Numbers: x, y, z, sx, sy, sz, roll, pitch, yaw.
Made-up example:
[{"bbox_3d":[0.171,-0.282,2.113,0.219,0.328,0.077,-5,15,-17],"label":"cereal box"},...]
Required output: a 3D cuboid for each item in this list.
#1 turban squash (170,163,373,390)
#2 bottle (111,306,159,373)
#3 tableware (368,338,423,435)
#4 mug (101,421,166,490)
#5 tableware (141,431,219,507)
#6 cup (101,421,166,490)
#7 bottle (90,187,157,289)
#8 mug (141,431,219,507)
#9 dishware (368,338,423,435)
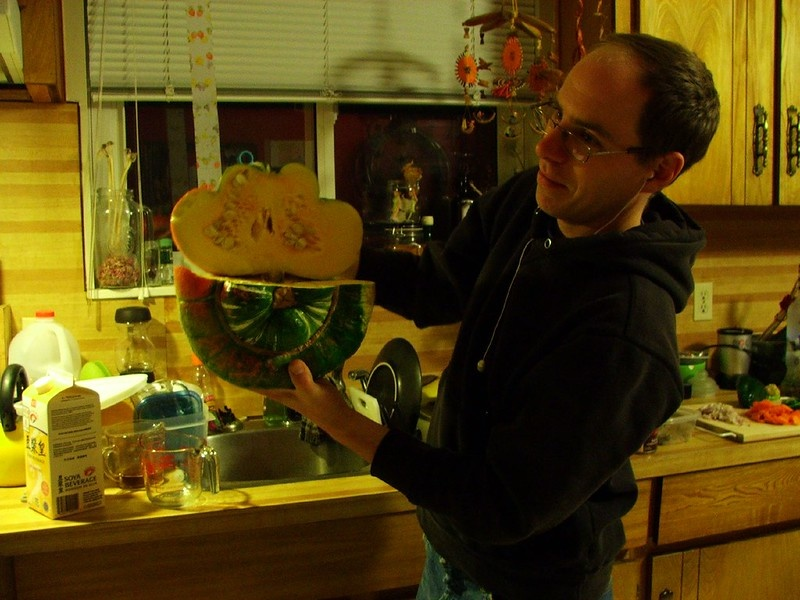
[{"bbox_3d":[-0.237,-0.044,1.200,0.362,0.412,0.121,-3,5,-13],"label":"turban squash"},{"bbox_3d":[-0.828,0.140,2.073,0.118,0.250,0.161,-5,10,-22],"label":"bottle"},{"bbox_3d":[-0.013,0.235,1.863,0.063,0.243,0.221,0,26,-30],"label":"tableware"},{"bbox_3d":[-0.730,0.403,1.797,0.124,0.149,0.198,4,7,24],"label":"mug"},{"bbox_3d":[-0.557,0.444,1.731,0.169,0.134,0.130,2,-3,6],"label":"tableware"},{"bbox_3d":[-0.713,0.417,1.847,0.124,0.149,0.198,4,7,24],"label":"cup"},{"bbox_3d":[-0.881,-0.202,2.145,0.126,0.315,0.227,3,10,22],"label":"bottle"},{"bbox_3d":[-0.554,0.445,1.723,0.169,0.134,0.130,2,-3,6],"label":"mug"},{"bbox_3d":[-0.010,0.236,1.861,0.063,0.243,0.221,0,26,-30],"label":"dishware"}]
